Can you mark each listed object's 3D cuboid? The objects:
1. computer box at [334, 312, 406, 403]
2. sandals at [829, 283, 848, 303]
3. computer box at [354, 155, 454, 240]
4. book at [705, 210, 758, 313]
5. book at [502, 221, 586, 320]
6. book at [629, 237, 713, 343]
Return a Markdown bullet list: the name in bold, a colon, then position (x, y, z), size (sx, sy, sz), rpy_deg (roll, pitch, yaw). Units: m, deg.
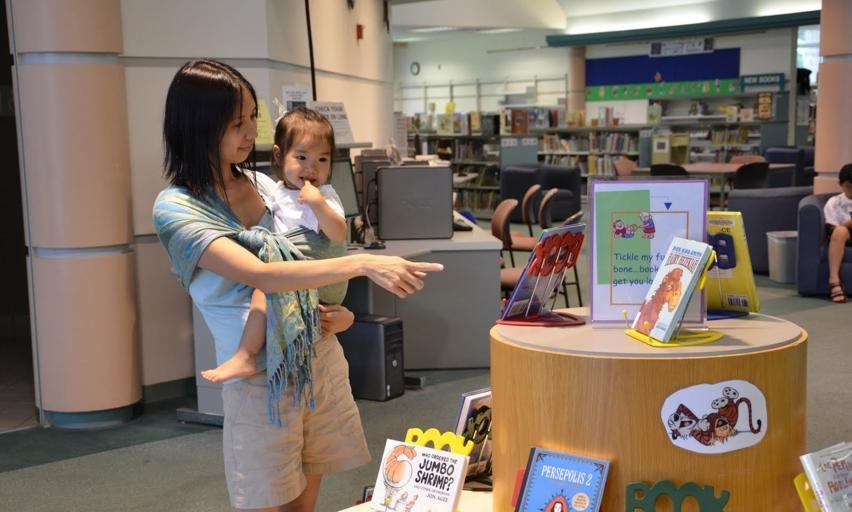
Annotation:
- **computer box**: position (-0.504, 0.801, 5.088), size (0.594, 0.597, 0.362), rpy_deg (-2, 0, 18)
- **sandals**: position (4.452, 0.395, 6.969), size (0.182, 0.178, 0.218), rpy_deg (4, 16, 22)
- **computer box**: position (-0.171, -0.335, 5.578), size (1.040, 0.721, 0.561), rpy_deg (0, 5, 0)
- **book**: position (1.160, 0.019, 2.509), size (0.258, 0.402, 0.162), rpy_deg (-4, 15, -10)
- **book**: position (0.456, 0.061, 2.506), size (0.379, 0.352, 0.121), rpy_deg (-12, 18, -36)
- **book**: position (0.860, 0.121, 2.285), size (0.216, 0.325, 0.162), rpy_deg (-14, 19, -39)
